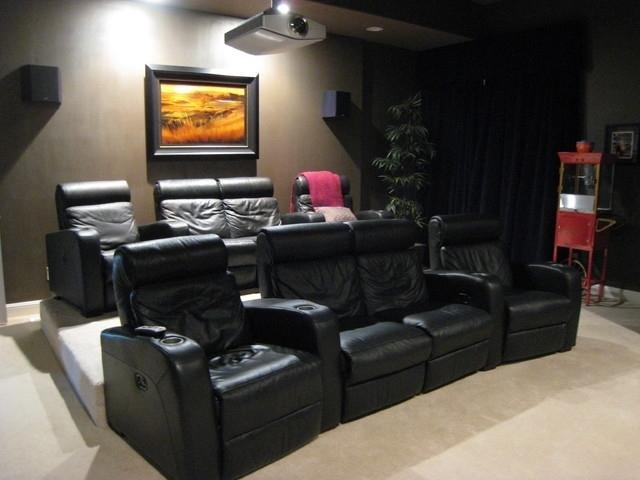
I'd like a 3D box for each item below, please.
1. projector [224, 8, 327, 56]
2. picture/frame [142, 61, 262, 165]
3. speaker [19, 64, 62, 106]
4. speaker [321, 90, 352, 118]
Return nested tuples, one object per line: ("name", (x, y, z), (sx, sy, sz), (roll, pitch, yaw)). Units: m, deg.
("projector", (-0.453, -2.027, 4.711), (0.597, 0.286, 0.939), (-9, 13, -31))
("picture/frame", (-1.427, -1.496, 5.579), (1.337, 0.989, 0.133), (-2, 5, -30))
("speaker", (-2.629, -1.486, 4.662), (0.354, 0.334, 0.195), (-2, 2, -6))
("speaker", (0.204, -1.779, 6.516), (0.454, 0.437, 0.332), (-4, 6, -38))
